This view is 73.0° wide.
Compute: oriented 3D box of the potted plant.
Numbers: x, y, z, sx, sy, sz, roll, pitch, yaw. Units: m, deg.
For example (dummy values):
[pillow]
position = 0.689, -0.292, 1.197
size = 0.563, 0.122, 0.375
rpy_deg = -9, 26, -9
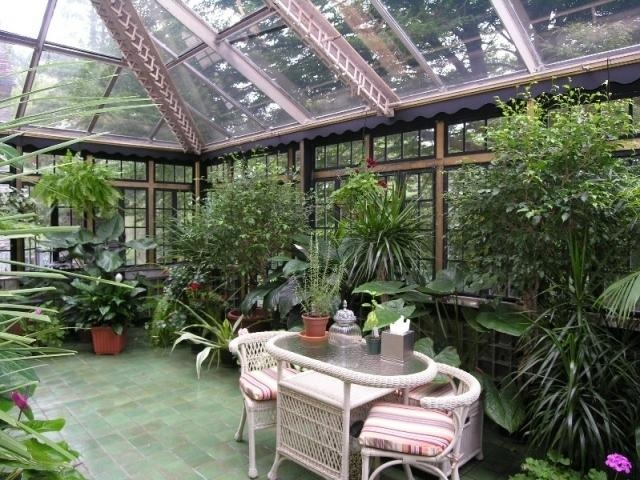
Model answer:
[potted plant]
position = -0.935, 0.237, 6.671
size = 2.499, 2.800, 3.078
rpy_deg = 3, 2, -43

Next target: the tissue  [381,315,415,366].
[tissue ]
position = 0.487, 0.621, 2.724
size = 0.192, 0.280, 0.117
rpy_deg = 2, 5, 9
